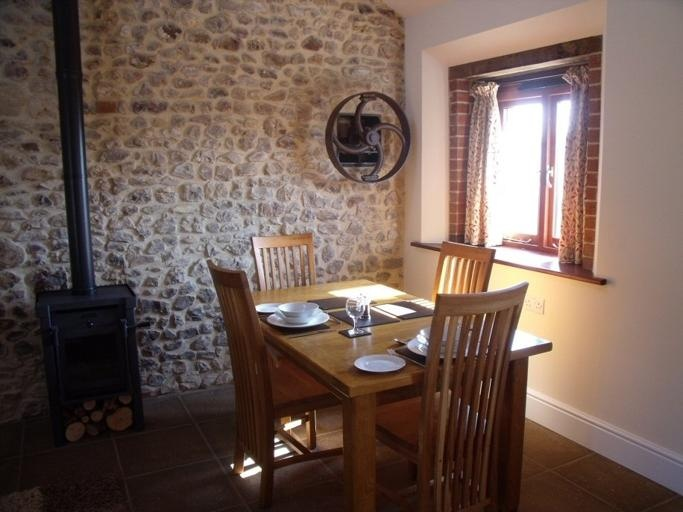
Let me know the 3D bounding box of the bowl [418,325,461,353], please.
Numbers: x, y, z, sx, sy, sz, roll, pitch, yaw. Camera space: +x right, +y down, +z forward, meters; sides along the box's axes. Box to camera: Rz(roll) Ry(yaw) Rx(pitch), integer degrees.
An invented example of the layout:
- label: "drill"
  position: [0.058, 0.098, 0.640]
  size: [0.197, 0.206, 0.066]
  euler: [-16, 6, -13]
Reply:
- label: "bowl"
  position: [0.500, 0.420, 2.617]
  size: [0.181, 0.042, 0.182]
  euler: [0, 11, 0]

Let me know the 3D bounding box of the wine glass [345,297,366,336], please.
- label: "wine glass"
  position: [0.080, 0.343, 2.827]
  size: [0.125, 0.222, 0.128]
  euler: [-9, 21, -22]

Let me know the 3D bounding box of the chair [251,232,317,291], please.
- label: "chair"
  position: [-0.405, 0.051, 4.022]
  size: [0.415, 0.686, 0.472]
  euler: [-5, 11, -26]

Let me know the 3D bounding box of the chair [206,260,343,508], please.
- label: "chair"
  position: [-0.388, 0.811, 3.064]
  size: [0.758, 1.578, 0.886]
  euler: [-11, 22, -28]
